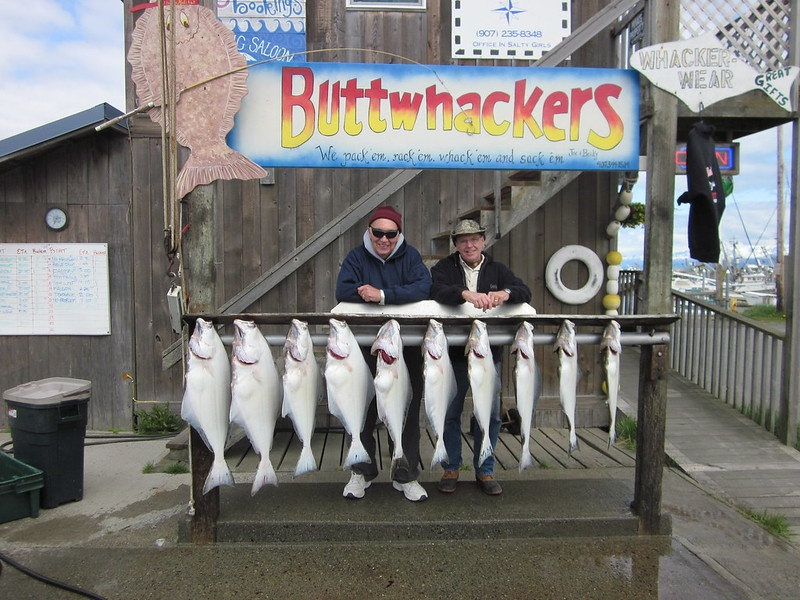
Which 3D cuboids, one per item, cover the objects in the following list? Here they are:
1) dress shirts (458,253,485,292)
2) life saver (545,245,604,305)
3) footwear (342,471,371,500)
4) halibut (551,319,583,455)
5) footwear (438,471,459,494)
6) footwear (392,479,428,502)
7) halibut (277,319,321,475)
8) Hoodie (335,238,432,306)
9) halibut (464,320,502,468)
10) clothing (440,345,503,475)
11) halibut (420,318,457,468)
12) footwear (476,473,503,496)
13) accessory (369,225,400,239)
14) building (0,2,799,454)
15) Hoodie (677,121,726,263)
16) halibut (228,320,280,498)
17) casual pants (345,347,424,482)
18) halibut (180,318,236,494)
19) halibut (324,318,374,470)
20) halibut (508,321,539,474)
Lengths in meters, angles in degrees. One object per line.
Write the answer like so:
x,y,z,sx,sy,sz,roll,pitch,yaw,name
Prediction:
0.660,-0.239,9.125,0.161,0.277,0.261,0,9,1,dress shirts
1.937,-0.305,10.855,0.572,0.699,0.164,-19,4,-3,life saver
-0.388,1.669,8.800,0.134,0.177,0.345,-2,-12,7,footwear
1.451,0.746,8.516,0.212,1.164,0.311,0,3,13,halibut
0.436,1.641,8.895,0.192,0.186,0.195,-1,3,-4,footwear
0.081,1.694,8.769,0.322,0.165,0.137,-1,0,44,footwear
-0.837,0.806,8.271,0.332,1.295,0.370,-1,3,-7,halibut
-0.150,-0.214,8.940,0.806,0.772,0.969,2,16,0,Hoodie
0.710,0.822,8.509,0.248,1.321,0.454,0,3,14,halibut
0.646,1.041,8.763,0.496,1.432,0.414,1,-6,-2,clothing
0.328,0.810,8.436,0.256,1.307,0.555,0,3,16,halibut
0.803,1.659,8.855,0.233,0.166,0.179,-1,3,6,footwear
-0.141,-0.619,8.840,0.277,0.146,0.161,-2,3,-1,accessory
-1.596,-1.009,13.088,11.610,6.905,3.880,-1,4,-4,building
2.894,-1.042,9.453,0.416,1.384,0.646,0,3,24,Hoodie
-1.231,0.906,8.283,0.420,1.500,0.369,-1,3,-2,halibut
-0.104,1.144,8.746,0.451,1.522,0.506,-5,-4,37,casual pants
-1.621,0.902,8.214,0.405,1.496,0.302,-2,3,-13,halibut
-0.428,0.759,8.250,0.396,1.194,0.253,-2,3,-13,halibut
1.080,0.845,8.484,0.221,1.313,0.341,0,3,13,halibut
